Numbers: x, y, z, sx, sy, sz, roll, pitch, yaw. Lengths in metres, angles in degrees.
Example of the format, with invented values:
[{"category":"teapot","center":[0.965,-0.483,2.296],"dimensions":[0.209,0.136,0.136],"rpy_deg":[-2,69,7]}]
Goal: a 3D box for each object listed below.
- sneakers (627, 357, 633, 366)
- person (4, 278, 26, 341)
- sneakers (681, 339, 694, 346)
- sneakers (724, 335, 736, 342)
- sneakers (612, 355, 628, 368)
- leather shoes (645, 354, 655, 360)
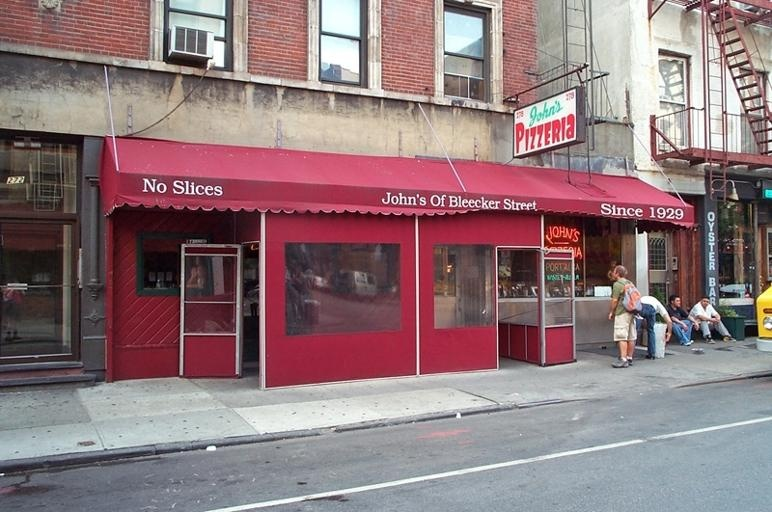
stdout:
[{"category":"sneakers","center":[6.080,2.649,18.680],"dimensions":[0.119,0.147,0.342],"rpy_deg":[1,4,14]},{"category":"person","center":[-8.100,1.236,16.298],"dimensions":[0.532,1.202,0.306],"rpy_deg":[-7,14,-27]},{"category":"sneakers","center":[8.687,2.512,21.583],"dimensions":[0.150,0.166,0.379],"rpy_deg":[0,-8,-15]},{"category":"sneakers","center":[10.196,2.485,22.246],"dimensions":[0.354,0.156,0.140],"rpy_deg":[-1,1,-11]},{"category":"sneakers","center":[5.764,2.649,18.523],"dimensions":[0.373,0.201,0.195],"rpy_deg":[-1,0,31]},{"category":"leather shoes","center":[6.938,2.667,19.602],"dimensions":[0.093,0.109,0.258],"rpy_deg":[1,3,3]}]
